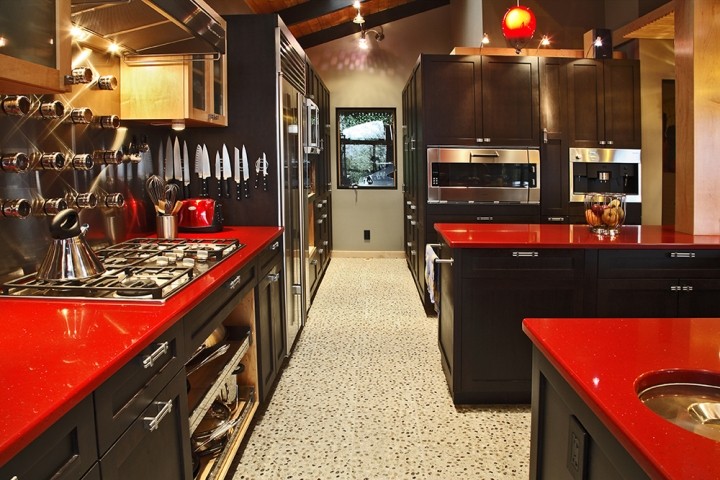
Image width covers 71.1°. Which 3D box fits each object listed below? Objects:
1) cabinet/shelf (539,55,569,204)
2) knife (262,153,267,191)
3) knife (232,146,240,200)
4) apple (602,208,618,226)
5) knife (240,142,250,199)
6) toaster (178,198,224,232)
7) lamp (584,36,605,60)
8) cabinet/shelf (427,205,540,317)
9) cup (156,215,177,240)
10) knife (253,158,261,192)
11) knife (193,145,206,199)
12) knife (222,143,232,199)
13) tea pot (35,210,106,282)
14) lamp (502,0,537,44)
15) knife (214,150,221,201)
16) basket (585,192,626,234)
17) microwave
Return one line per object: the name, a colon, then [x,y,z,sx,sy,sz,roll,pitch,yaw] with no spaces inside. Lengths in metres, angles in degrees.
cabinet/shelf: [1.840,-1.006,4.800,0.269,1.391,0.176,-1,10,-3]
knife: [-0.685,-0.497,3.663,0.039,0.263,0.021,-7,12,-30]
knife: [-0.903,-0.478,3.661,0.049,0.349,0.017,1,10,0]
apple: [1.635,-0.150,3.285,0.100,0.126,0.102,-5,0,-5]
knife: [-0.834,-0.507,3.660,0.050,0.371,0.017,-1,1,0]
toaster: [-1.083,-0.168,3.403,0.222,0.169,0.234,2,9,10]
lamp: [2.248,-1.885,4.970,0.143,0.213,0.225,-6,12,-26]
cabinet/shelf: [1.136,0.107,4.646,0.817,0.778,0.458,0,2,2]
cup: [-1.260,-0.086,3.237,0.134,0.223,0.138,0,5,0]
knife: [-0.746,-0.474,3.670,0.050,0.218,0.021,2,4,6]
knife: [-1.166,-0.498,3.637,0.067,0.354,0.030,1,15,-1]
knife: [-0.969,-0.498,3.664,0.064,0.381,0.053,-2,10,-4]
tea pot: [-1.240,0.015,2.341,0.265,0.321,0.316,2,8,1]
lamp: [1.287,-1.765,4.114,0.240,0.312,0.249,0,11,4]
knife: [-1.027,-0.469,3.669,0.048,0.351,0.053,-5,11,-25]
basket: [1.613,-0.192,3.342,0.260,0.292,0.268,4,7,43]
microwave: [2.270,-0.627,4.716,0.619,0.493,0.219,0,2,-2]
